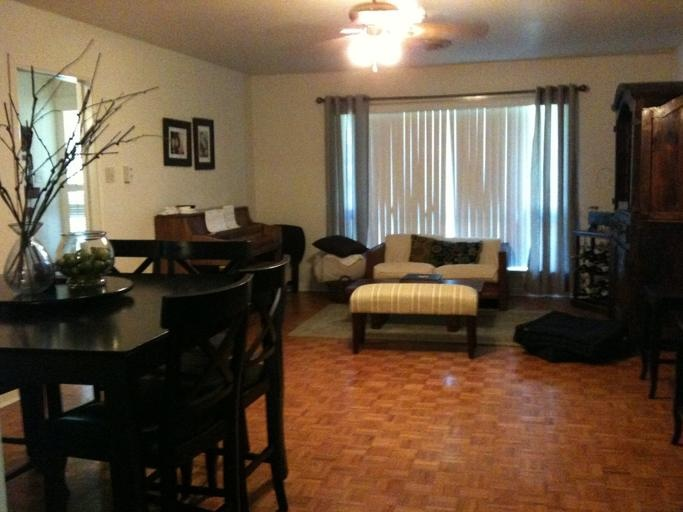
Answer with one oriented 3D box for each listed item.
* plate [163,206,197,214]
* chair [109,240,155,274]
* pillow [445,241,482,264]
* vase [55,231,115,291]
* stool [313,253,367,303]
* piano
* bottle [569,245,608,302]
[{"bbox_3d":[-1.747,-0.493,6.115,0.408,0.082,0.191,-7,11,-30],"label":"plate"},{"bbox_3d":[-1.231,0.000,3.397,0.255,0.167,0.460,-5,11,-22],"label":"chair"},{"bbox_3d":[1.486,-0.041,6.821,0.319,0.297,0.096,8,-11,19],"label":"pillow"},{"bbox_3d":[-1.201,0.014,2.660,0.266,0.288,0.259,-2,5,-41],"label":"vase"},{"bbox_3d":[-0.016,0.275,7.153,0.606,0.330,0.653,3,5,16],"label":"stool"},{"bbox_3d":[-1.369,0.007,6.708,0.873,1.040,1.588,4,9,13],"label":"piano"},{"bbox_3d":[2.747,0.218,6.237,0.321,0.584,0.424,1,10,15],"label":"bottle"}]
